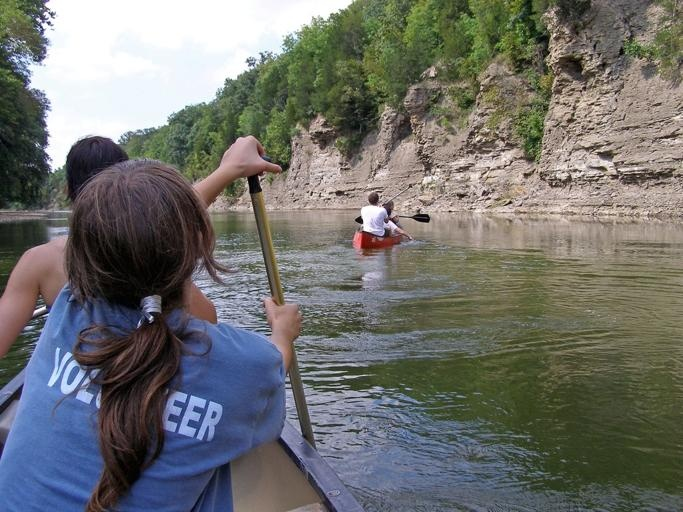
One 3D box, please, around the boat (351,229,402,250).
[{"bbox_3d":[0.889,-0.413,13.232,1.106,0.439,0.749,-3,9,-6],"label":"boat"}]
